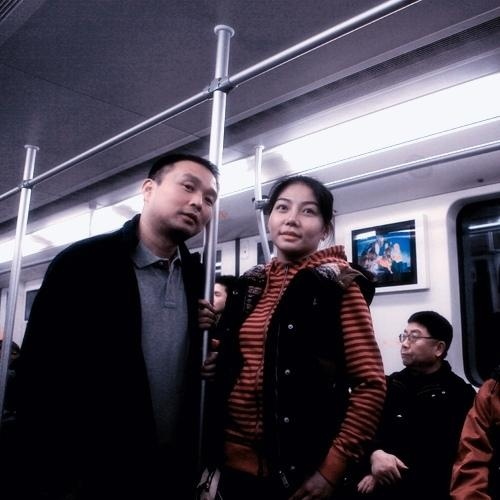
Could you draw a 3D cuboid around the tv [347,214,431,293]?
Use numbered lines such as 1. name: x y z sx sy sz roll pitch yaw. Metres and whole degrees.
1. tv: 1.151 0.029 3.528 0.662 0.574 0.085 -10 -20 43
